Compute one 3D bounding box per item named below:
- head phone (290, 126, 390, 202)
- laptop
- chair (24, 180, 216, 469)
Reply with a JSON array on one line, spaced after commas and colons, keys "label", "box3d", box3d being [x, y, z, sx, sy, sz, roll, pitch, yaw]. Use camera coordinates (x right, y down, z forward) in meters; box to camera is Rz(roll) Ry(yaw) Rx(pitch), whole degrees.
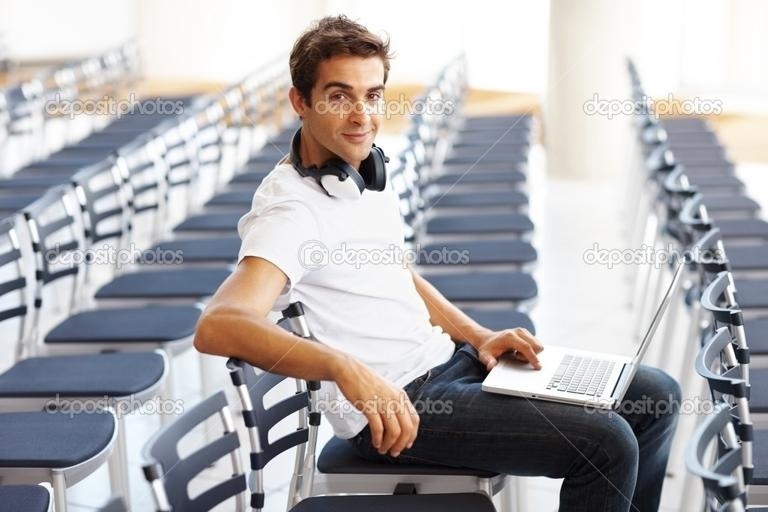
[{"label": "head phone", "box3d": [-0.115, -0.205, 1.821, 0.190, 0.081, 0.170, 37, 38, 14]}, {"label": "laptop", "box3d": [0.491, 0.158, 1.862, 0.468, 0.285, 0.512, 1, 6, 11]}, {"label": "chair", "box3d": [-0.797, 0.155, 2.353, 0.450, 0.652, 0.370, 8, 17, -4]}]
